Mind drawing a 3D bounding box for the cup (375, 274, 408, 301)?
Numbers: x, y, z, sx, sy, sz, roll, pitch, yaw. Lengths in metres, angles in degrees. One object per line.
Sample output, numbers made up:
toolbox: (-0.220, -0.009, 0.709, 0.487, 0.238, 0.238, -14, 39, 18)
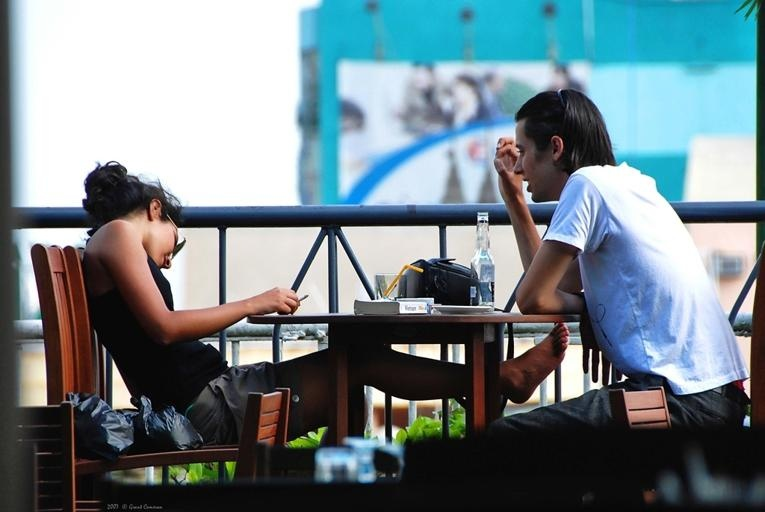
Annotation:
cup: (0.041, 0.160, 7.075, 0.135, 0.146, 0.125, 0, -2, 0)

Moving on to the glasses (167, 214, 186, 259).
glasses: (-1.137, -0.124, 7.438, 0.052, 0.182, 0.179, -33, -14, -33)

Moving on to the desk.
desk: (0.209, 0.565, 7.059, 0.960, 0.822, 0.924, -1, -6, 10)

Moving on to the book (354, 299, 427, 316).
book: (0.053, 0.259, 6.884, 0.400, 0.075, 0.101, -1, -3, -11)

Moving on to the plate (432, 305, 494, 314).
plate: (0.431, 0.277, 6.924, 0.322, 0.057, 0.292, -1, -4, -5)

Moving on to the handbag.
handbag: (0.287, 0.127, 7.058, 0.333, 0.237, 0.230, 0, 2, 4)
